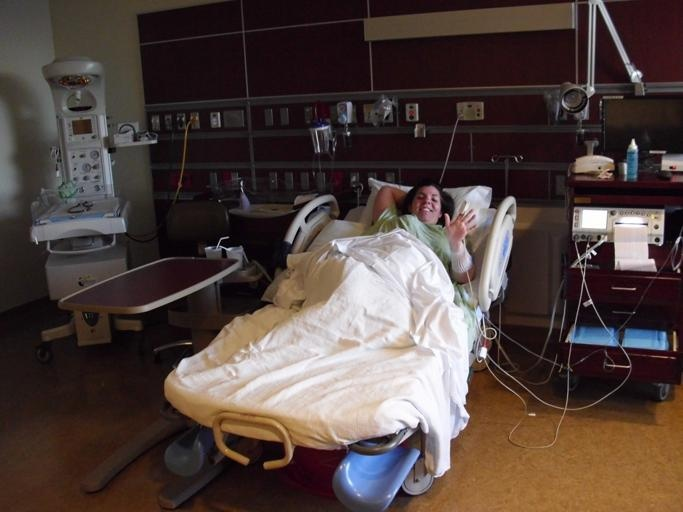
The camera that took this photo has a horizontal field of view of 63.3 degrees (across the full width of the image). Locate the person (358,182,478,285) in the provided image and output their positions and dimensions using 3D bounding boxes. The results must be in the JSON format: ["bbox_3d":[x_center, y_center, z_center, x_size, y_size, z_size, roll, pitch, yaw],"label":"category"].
[{"bbox_3d":[0.596,-0.257,3.813,1.013,0.296,0.844,2,-23,11],"label":"person"}]

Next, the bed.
[{"bbox_3d":[0.196,0.301,2.777,1.050,0.896,1.831,8,29,24],"label":"bed"}]

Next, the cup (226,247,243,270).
[{"bbox_3d":[-0.645,0.016,3.328,0.074,0.124,0.081,0,21,0],"label":"cup"}]

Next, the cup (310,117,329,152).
[{"bbox_3d":[-0.136,-0.891,4.074,0.181,0.265,0.191,-2,21,1],"label":"cup"}]

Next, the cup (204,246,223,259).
[{"bbox_3d":[-0.797,-0.028,3.445,0.103,0.083,0.096,0,10,0],"label":"cup"}]
